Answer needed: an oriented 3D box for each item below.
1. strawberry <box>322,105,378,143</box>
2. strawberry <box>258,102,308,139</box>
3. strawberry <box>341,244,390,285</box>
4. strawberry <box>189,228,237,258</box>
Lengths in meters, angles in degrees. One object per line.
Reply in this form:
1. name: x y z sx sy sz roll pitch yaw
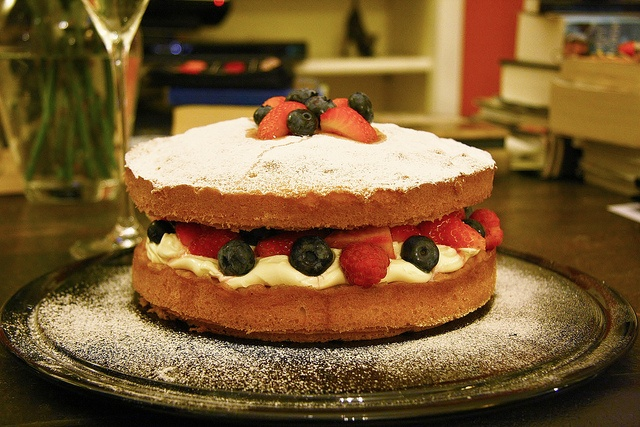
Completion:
1. strawberry: 0.093 -0.288 1.962 0.118 0.069 0.156 24 6 -33
2. strawberry: -0.124 -0.287 2.019 0.147 0.047 0.111 -37 50 -9
3. strawberry: 0.133 0.149 1.794 0.127 0.092 0.131 3 25 -1
4. strawberry: -0.337 0.093 1.912 0.123 0.065 0.093 -7 18 4
